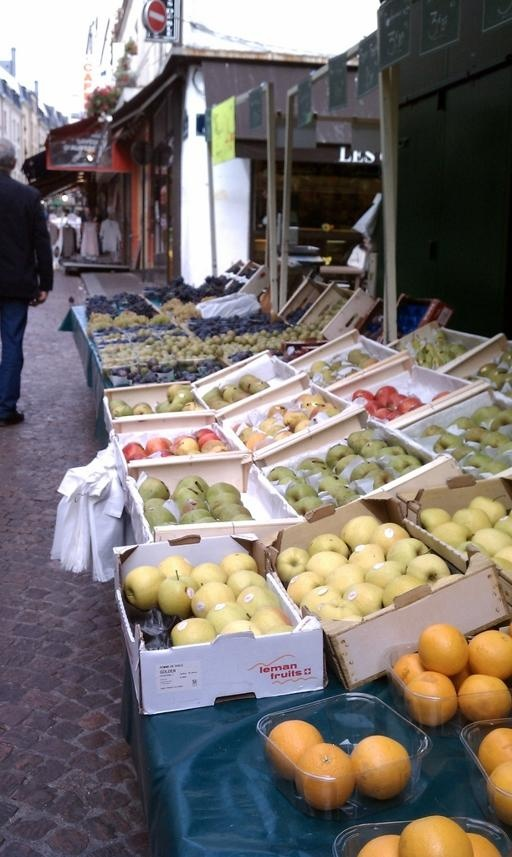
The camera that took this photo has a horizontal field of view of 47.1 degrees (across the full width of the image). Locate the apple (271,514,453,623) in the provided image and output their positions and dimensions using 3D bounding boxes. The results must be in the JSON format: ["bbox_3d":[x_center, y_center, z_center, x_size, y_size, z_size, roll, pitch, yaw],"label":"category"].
[{"bbox_3d":[0.323,0.446,1.846,0.295,0.113,0.305,-27,11,-9],"label":"apple"}]
